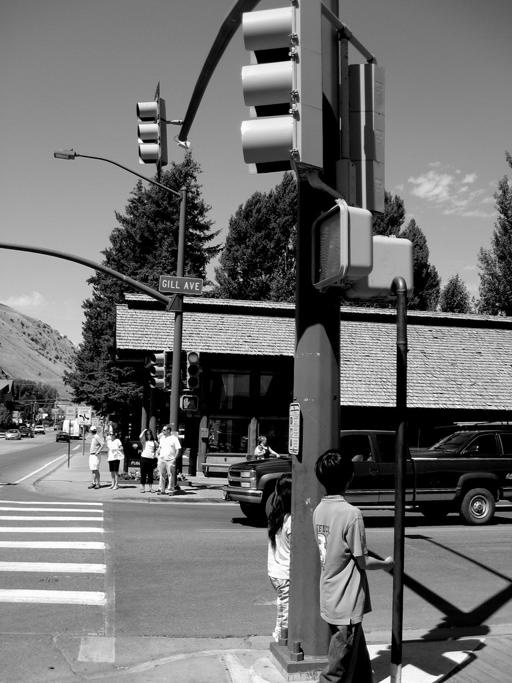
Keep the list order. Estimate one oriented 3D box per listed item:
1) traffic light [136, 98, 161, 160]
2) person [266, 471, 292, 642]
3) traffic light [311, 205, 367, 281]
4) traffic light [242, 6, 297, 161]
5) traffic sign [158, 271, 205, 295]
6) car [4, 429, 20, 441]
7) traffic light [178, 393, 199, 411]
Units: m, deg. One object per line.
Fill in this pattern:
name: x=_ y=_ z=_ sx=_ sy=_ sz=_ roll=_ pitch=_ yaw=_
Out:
traffic light: x=-1.215 y=-2.326 z=9.793 sx=0.289 sy=0.786 sz=0.603 roll=3 pitch=-5 yaw=-8
person: x=0.165 y=1.695 z=6.620 sx=0.157 sy=1.312 sz=0.552 roll=2 pitch=-5 yaw=-2
traffic light: x=0.512 y=-0.596 z=5.284 sx=0.223 sy=0.555 sz=0.409 roll=1 pitch=-5 yaw=-15
traffic light: x=0.066 y=-1.510 z=5.293 sx=0.330 sy=0.984 sz=0.614 roll=2 pitch=-5 yaw=0
traffic sign: x=-1.774 y=-1.342 z=19.999 sx=0.950 sy=0.528 sz=1.138 roll=4 pitch=-6 yaw=-8
car: x=-29.043 y=11.174 z=103.372 sx=0.945 sy=0.856 sz=2.440 roll=0 pitch=3 yaw=-6
traffic light: x=-1.614 y=1.469 z=20.726 sx=0.512 sy=0.588 sz=0.321 roll=5 pitch=-10 yaw=-26
